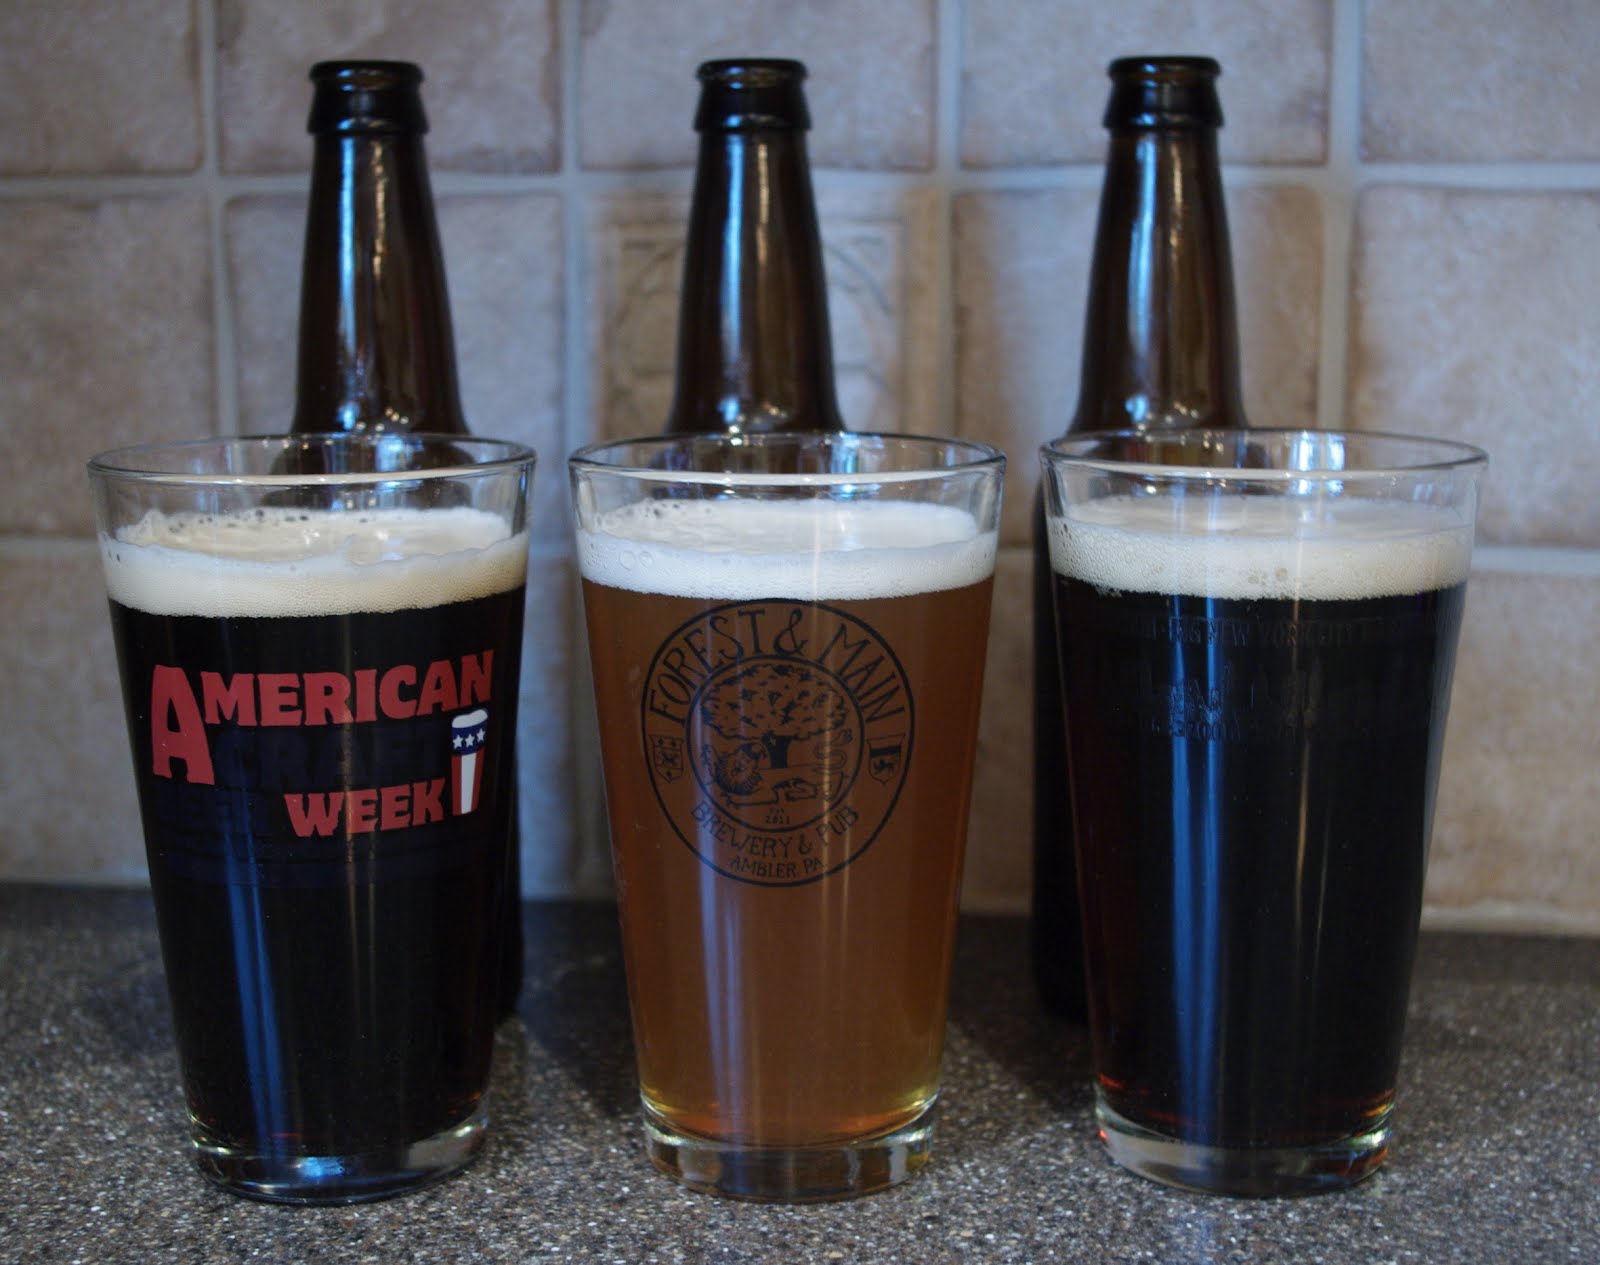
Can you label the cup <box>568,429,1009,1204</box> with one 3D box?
[{"bbox_3d":[0.001,0.068,0.620,0.149,0.257,0.076,-3,15,-8],"label":"cup"}]
